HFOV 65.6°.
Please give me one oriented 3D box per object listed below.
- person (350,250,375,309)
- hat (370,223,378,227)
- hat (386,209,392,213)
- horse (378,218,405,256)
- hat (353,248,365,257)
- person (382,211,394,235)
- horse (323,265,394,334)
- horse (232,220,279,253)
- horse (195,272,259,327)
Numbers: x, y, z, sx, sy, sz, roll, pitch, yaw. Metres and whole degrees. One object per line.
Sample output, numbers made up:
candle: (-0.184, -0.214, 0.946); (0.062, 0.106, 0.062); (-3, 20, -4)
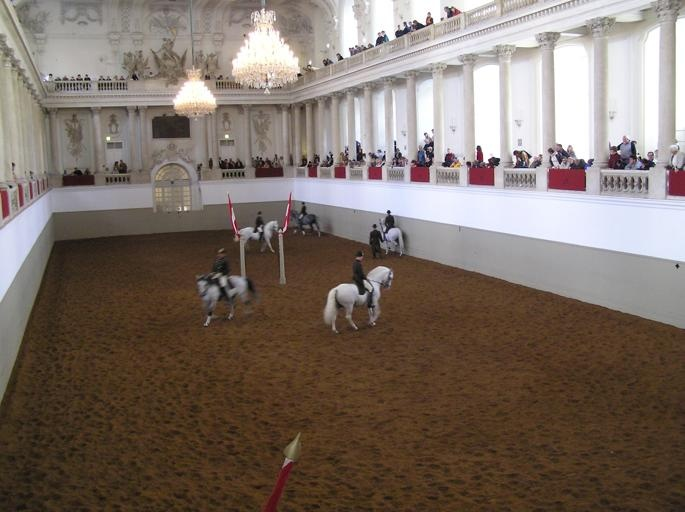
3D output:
person: (0.512, 0.634, 13.523); (0.510, 1.585, 0.679); (-2, 10, -5)
hat: (1.393, -1.398, 23.685); (0.303, 0.097, 0.320); (0, 3, 23)
hat: (2.101, -2.070, 24.183); (0.235, 0.257, 0.255); (8, -1, -5)
horse: (2.067, -0.917, 24.198); (0.473, 1.456, 1.732); (-7, 12, -33)
hat: (0.606, -0.162, 20.505); (0.272, 0.238, 0.418); (0, 7, 4)
person: (2.065, -1.658, 24.293); (0.524, 1.019, 1.167); (0, 10, 6)
horse: (0.437, 1.072, 13.503); (2.055, 1.633, 0.481); (-7, 11, -32)
horse: (-4.047, -0.928, 25.799); (1.562, 1.344, 1.845); (-4, 11, -13)
horse: (-3.169, 1.095, 14.296); (1.833, 1.277, 0.511); (-2, 7, -42)
